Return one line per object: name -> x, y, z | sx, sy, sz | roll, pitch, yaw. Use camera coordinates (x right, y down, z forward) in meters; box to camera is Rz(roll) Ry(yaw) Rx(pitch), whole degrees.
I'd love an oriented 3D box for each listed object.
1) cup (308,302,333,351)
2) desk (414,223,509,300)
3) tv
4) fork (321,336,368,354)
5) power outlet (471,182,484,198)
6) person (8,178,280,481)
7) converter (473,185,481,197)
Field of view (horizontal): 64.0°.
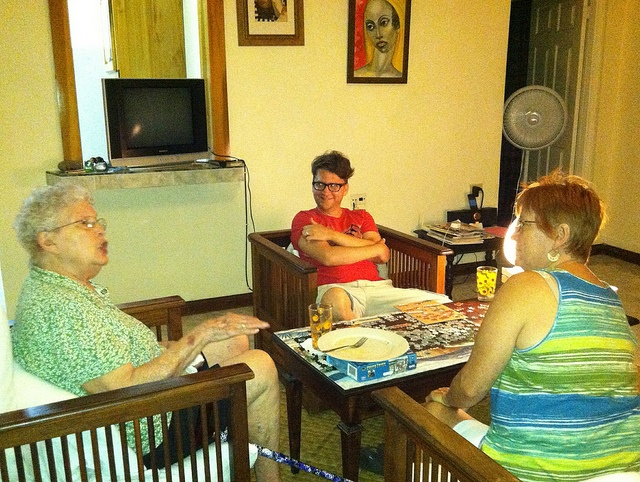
cup -> -0.003, 0.379, 2.279 | 0.160, 0.185, 0.159 | 0, 9, 0
desk -> 1.264, 0.015, 4.529 | 0.836, 0.618, 0.657 | -9, 17, -29
tv -> -1.163, -0.905, 3.941 | 0.755, 0.636, 0.423 | -3, 11, 0
fork -> 0.099, 0.427, 2.088 | 0.140, 0.021, 0.024 | -17, 38, 7
power outlet -> 1.505, -0.488, 4.986 | 0.137, 0.135, 0.037 | 5, 11, -39
person -> -0.660, 0.202, 2.420 | 1.196, 1.299, 0.843 | -4, 12, -26
converter -> 1.495, -0.478, 4.973 | 0.025, 0.095, 0.103 | 8, -13, 34
